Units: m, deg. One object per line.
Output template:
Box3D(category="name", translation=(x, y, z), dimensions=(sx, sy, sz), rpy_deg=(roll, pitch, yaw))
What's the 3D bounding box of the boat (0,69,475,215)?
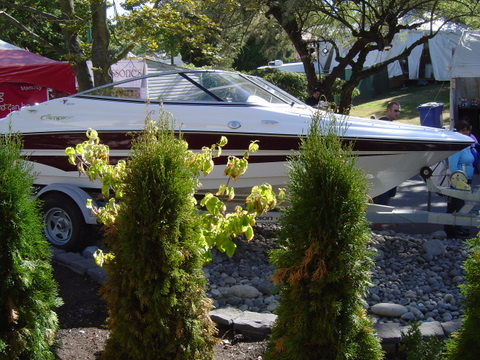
Box3D(category="boat", translation=(0.930, -0.870, 8.240), dimensions=(8.643, 2.377, 2.638), rpy_deg=(0, 13, 7))
